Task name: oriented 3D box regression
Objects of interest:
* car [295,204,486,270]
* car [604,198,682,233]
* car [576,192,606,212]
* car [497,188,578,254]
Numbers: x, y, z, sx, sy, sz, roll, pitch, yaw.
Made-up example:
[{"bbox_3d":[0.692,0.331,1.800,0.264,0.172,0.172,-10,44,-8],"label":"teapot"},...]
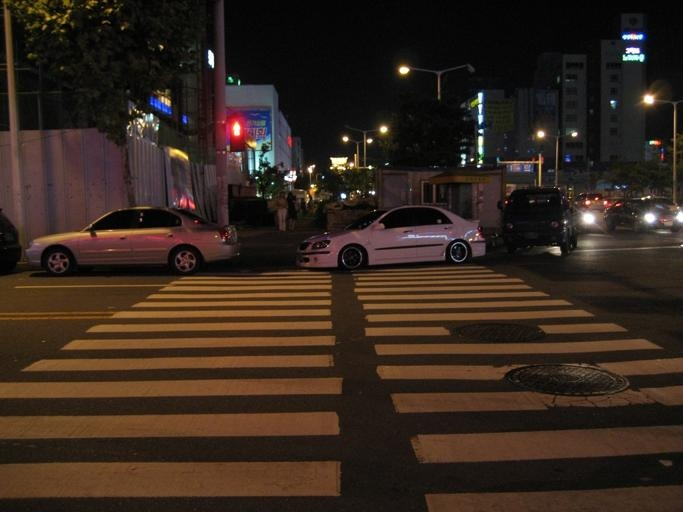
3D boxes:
[{"bbox_3d":[1.349,-0.317,18.897,4.154,1.459,1.928,1,0,-13],"label":"car"},{"bbox_3d":[13.971,-1.858,33.082,1.647,1.117,2.736,-1,3,-2],"label":"car"},{"bbox_3d":[18.998,-3.983,54.507,1.170,0.975,2.815,1,10,14],"label":"car"},{"bbox_3d":[6.228,-1.285,22.296,1.456,1.366,2.571,0,13,19],"label":"car"}]
